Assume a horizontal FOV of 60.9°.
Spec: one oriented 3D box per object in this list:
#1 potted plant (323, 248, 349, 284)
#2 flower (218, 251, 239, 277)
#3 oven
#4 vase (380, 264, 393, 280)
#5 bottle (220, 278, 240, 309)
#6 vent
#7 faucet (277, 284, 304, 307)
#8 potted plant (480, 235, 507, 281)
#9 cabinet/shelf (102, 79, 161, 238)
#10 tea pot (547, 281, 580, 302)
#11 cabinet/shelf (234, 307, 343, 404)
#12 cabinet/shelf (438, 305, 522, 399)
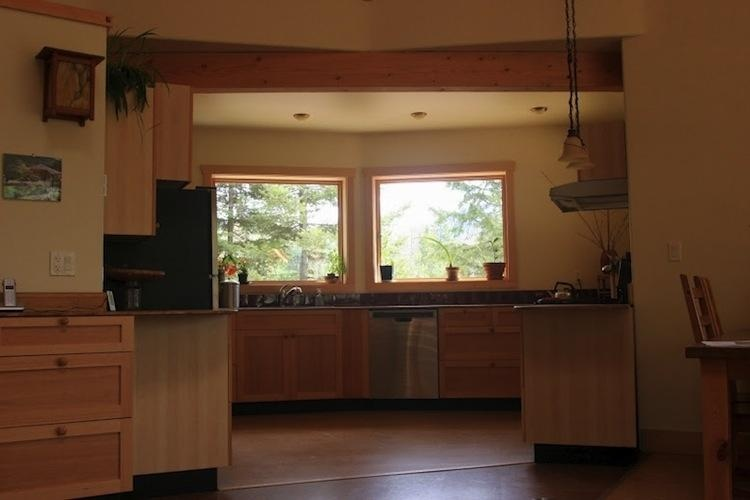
[{"bbox_3d":[-0.444,0.191,7.428,0.256,0.374,0.145,-1,-1,-6],"label":"potted plant"},{"bbox_3d":[-1.647,0.176,7.164,0.195,0.271,0.279,11,17,1],"label":"flower"},{"bbox_3d":[0.298,1.110,6.976,1.009,1.147,0.825,-1,-10,2],"label":"oven"},{"bbox_3d":[0.135,0.262,7.357,0.171,0.198,0.160,1,0,15],"label":"vase"},{"bbox_3d":[-1.417,0.425,6.293,0.246,0.272,0.246,1,2,30],"label":"bottle"},{"bbox_3d":[1.923,-0.843,6.076,0.719,0.872,0.953,-3,-6,7],"label":"vent"},{"bbox_3d":[-0.938,0.504,7.167,0.289,0.217,0.222,-1,-1,-10],"label":"faucet"},{"bbox_3d":[1.384,0.099,7.363,0.241,0.498,0.223,-1,-1,9],"label":"potted plant"},{"bbox_3d":[-1.822,-0.596,4.736,0.338,0.952,0.109,-1,-1,-15],"label":"cabinet/shelf"},{"bbox_3d":[1.942,0.424,6.530,0.316,0.261,0.198,-2,1,-26],"label":"tea pot"},{"bbox_3d":[-0.922,1.097,6.959,1.460,1.173,0.834,0,-7,-7],"label":"cabinet/shelf"},{"bbox_3d":[0.952,1.035,6.949,1.229,1.165,0.814,-1,-9,1],"label":"cabinet/shelf"}]
